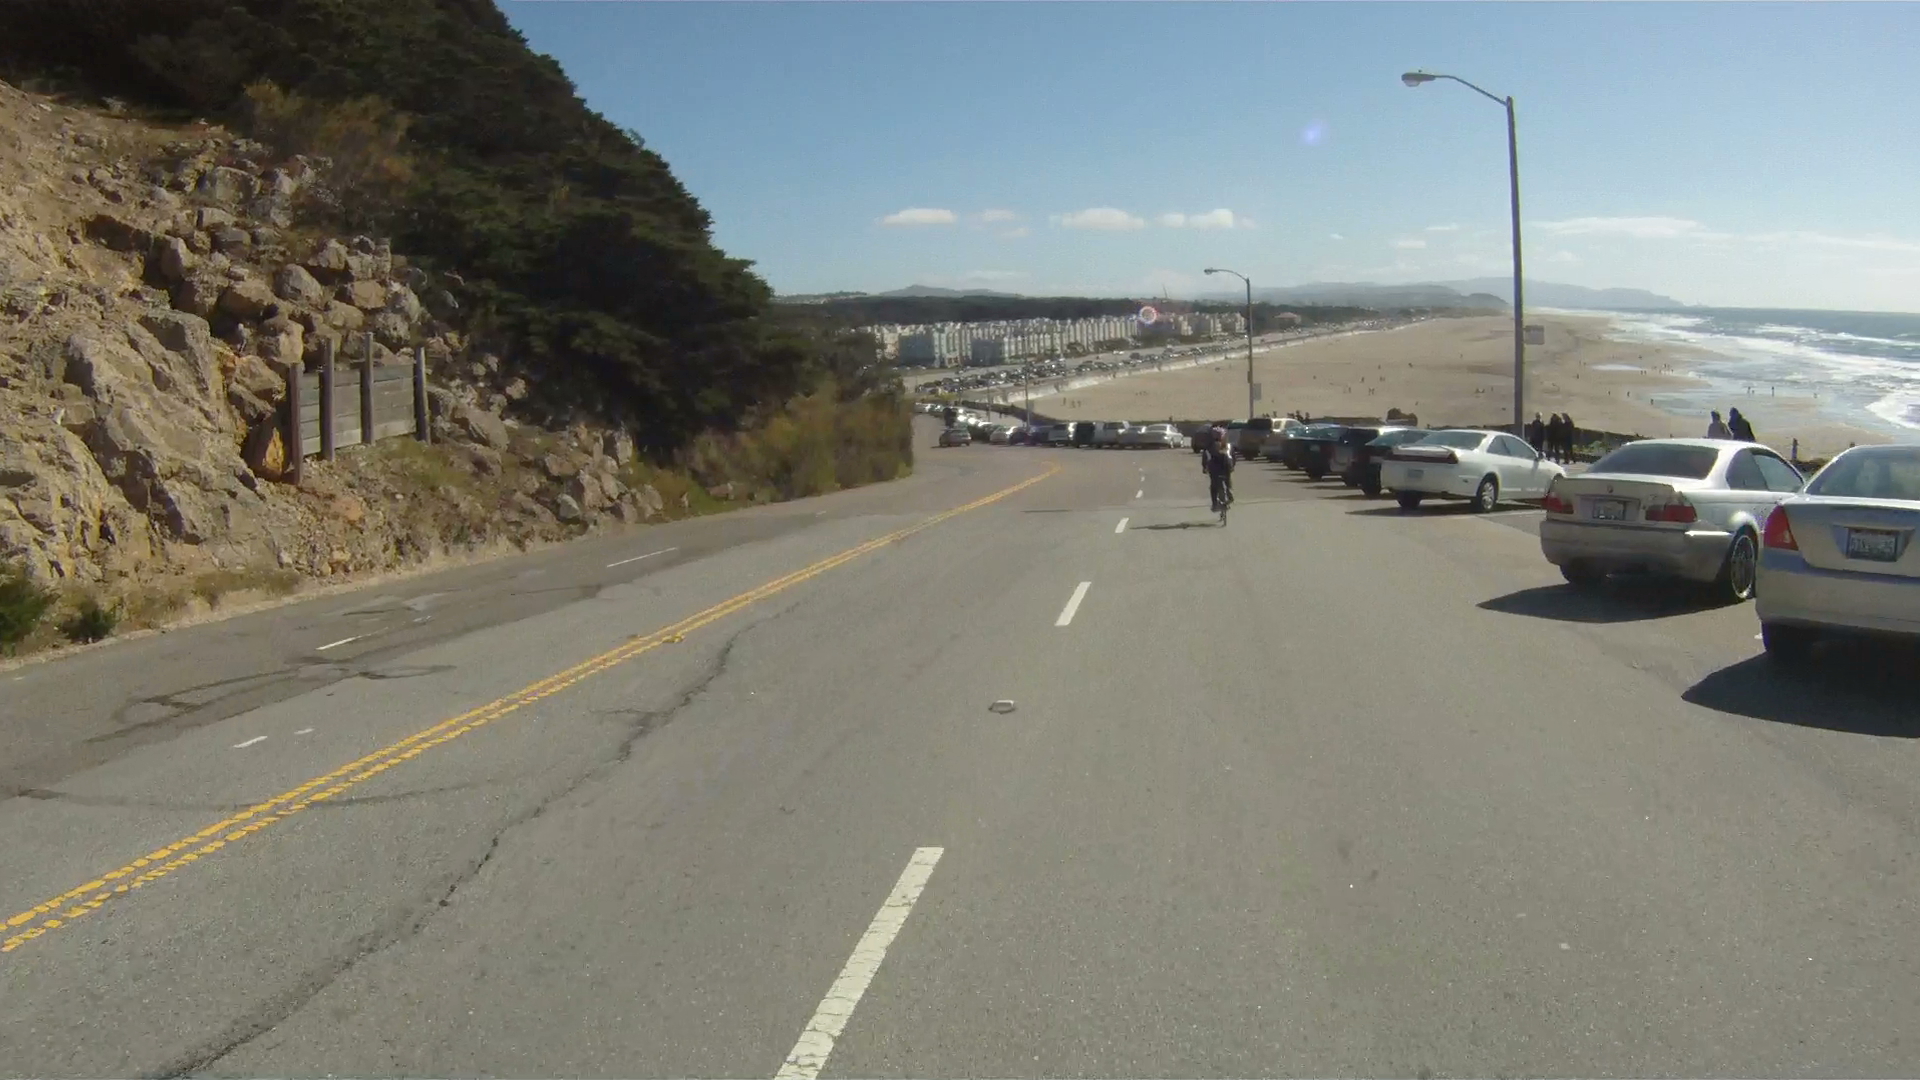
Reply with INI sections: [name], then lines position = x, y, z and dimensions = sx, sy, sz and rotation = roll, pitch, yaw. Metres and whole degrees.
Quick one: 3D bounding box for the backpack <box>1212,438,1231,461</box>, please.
[backpack]
position = 5.787, -2.069, 27.372
dimensions = 0.273, 0.516, 0.420
rotation = -8, -17, -9
